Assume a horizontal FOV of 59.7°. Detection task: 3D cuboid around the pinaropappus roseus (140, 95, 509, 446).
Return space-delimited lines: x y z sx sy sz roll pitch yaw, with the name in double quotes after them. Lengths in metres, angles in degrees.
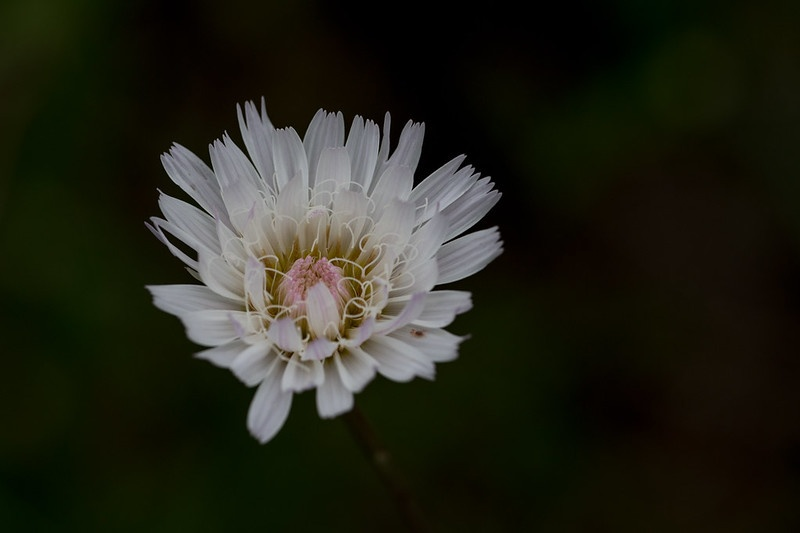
-0.366 -0.240 2.334 1.054 1.065 0.471 -13 -72 -23 "pinaropappus roseus"
